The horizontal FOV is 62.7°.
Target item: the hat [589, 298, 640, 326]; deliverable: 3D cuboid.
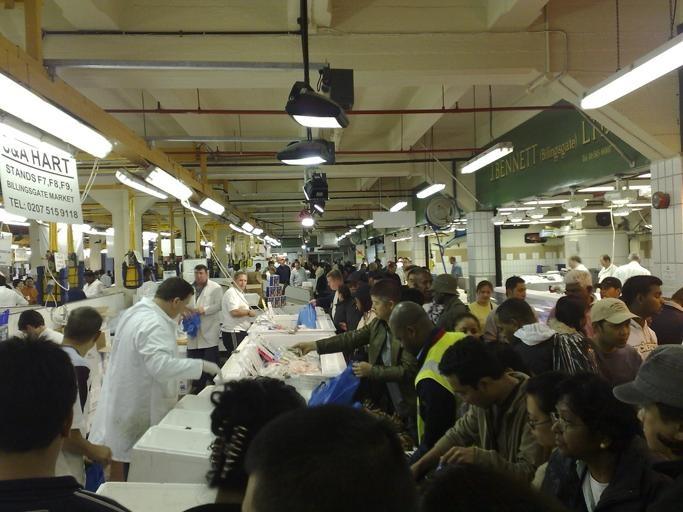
[{"bbox_3d":[2.067,0.424,4.281,0.254,0.134,0.195,-3,-3,32],"label":"hat"}]
